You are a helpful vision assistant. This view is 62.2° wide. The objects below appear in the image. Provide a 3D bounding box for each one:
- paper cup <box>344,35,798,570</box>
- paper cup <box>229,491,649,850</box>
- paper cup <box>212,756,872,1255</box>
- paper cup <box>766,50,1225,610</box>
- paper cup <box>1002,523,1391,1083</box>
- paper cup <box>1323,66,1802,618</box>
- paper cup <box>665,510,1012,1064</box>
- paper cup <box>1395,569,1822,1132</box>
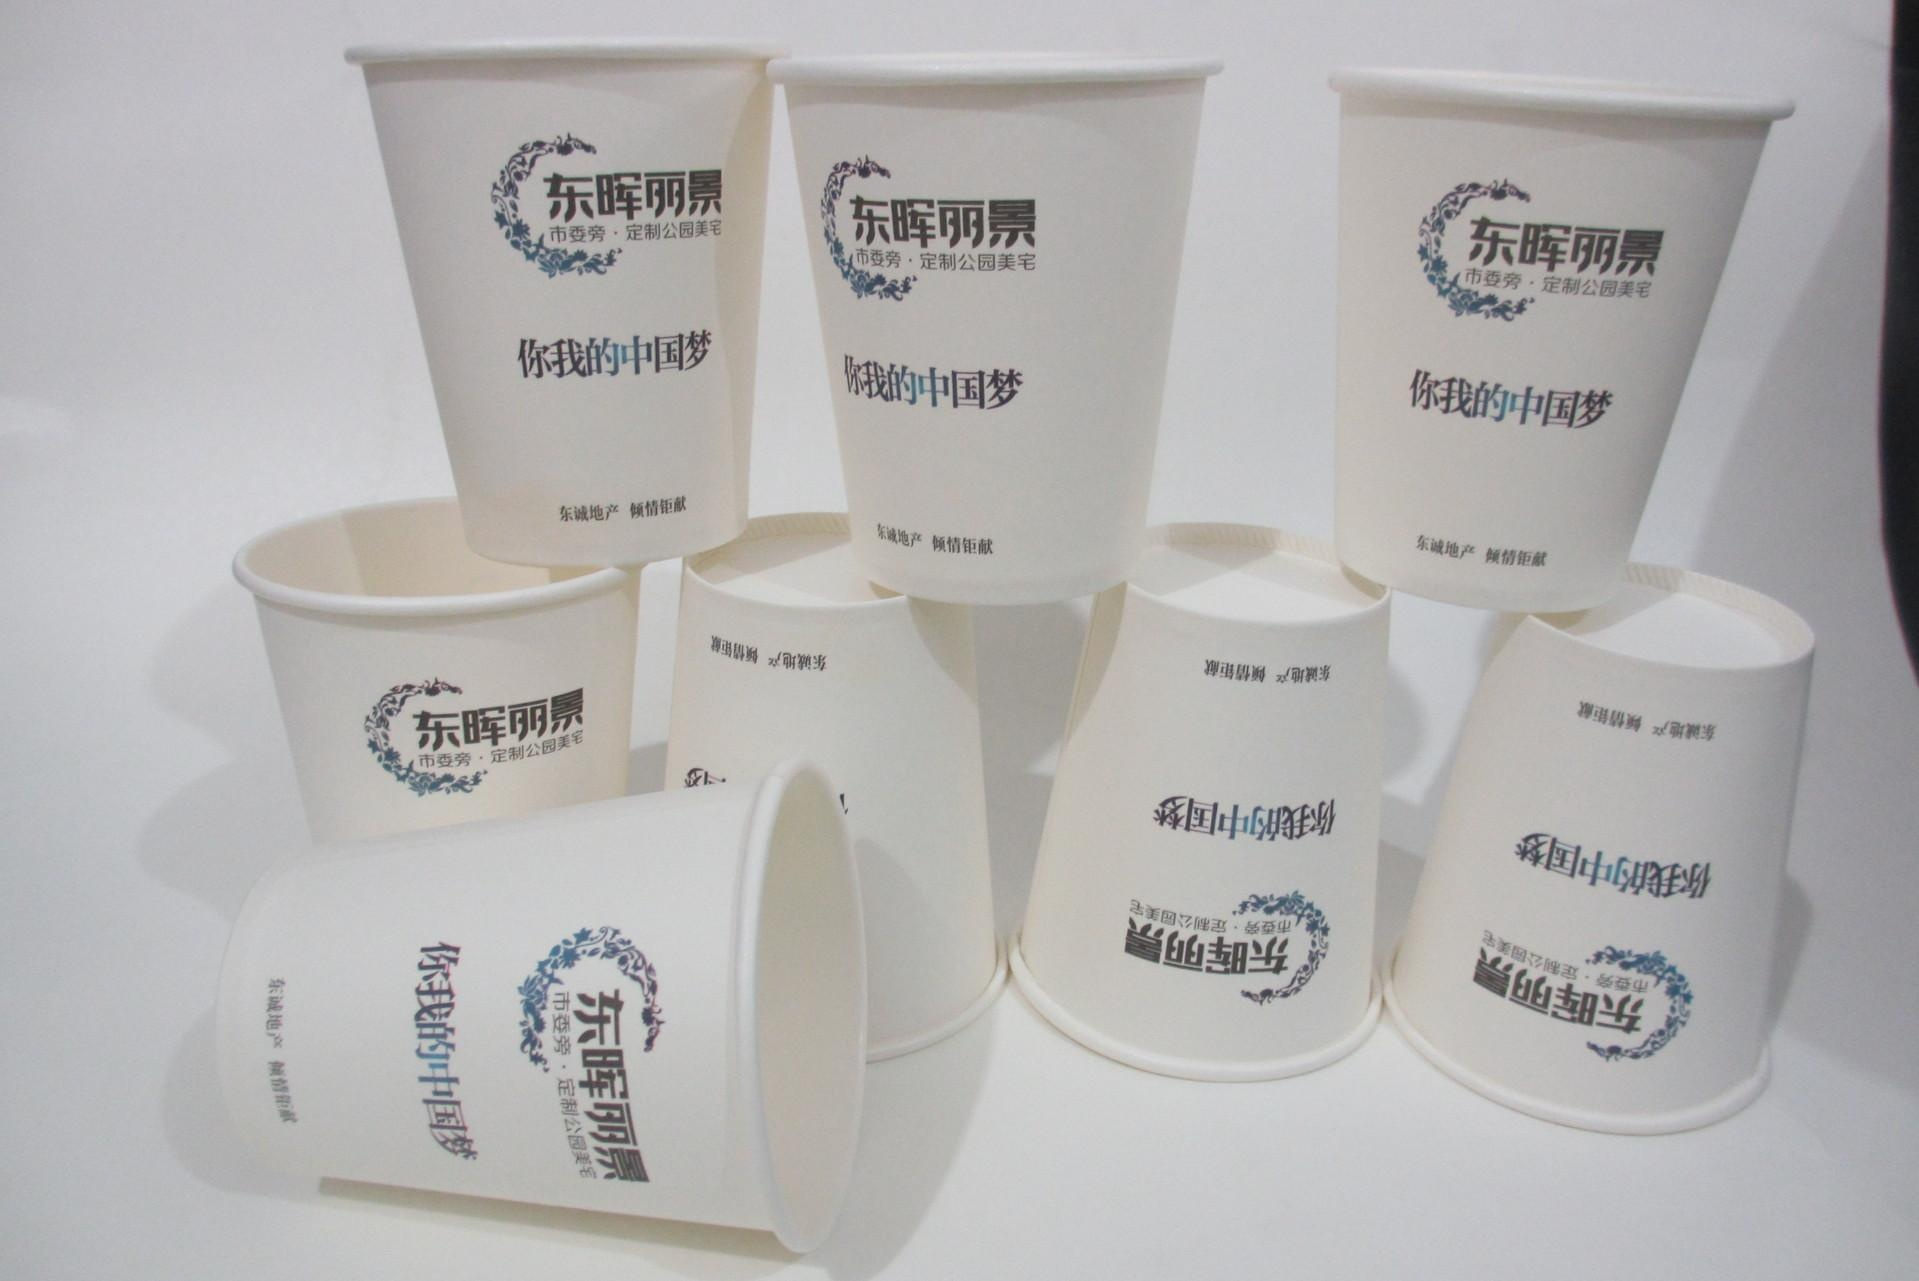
[{"bbox_3d":[-0.467,-0.421,1.987,0.504,0.595,0.522,2,16,-1],"label":"paper cup"},{"bbox_3d":[-0.628,0.049,1.925,0.381,0.346,0.415,5,17,-1],"label":"paper cup"},{"bbox_3d":[-0.451,0.307,1.776,0.436,0.720,0.478,5,30,-3],"label":"paper cup"},{"bbox_3d":[0.011,-0.365,1.935,0.527,0.622,0.545,0,14,0],"label":"paper cup"},{"bbox_3d":[0.246,0.165,2.002,0.467,0.570,0.542,6,16,-15],"label":"paper cup"},{"bbox_3d":[0.669,-0.363,1.885,0.478,0.596,0.495,2,23,-1],"label":"paper cup"},{"bbox_3d":[-0.102,0.144,2.079,0.467,0.584,0.547,-5,17,-15],"label":"paper cup"},{"bbox_3d":[0.775,0.257,1.933,0.432,0.559,0.457,11,11,-2],"label":"paper cup"}]
